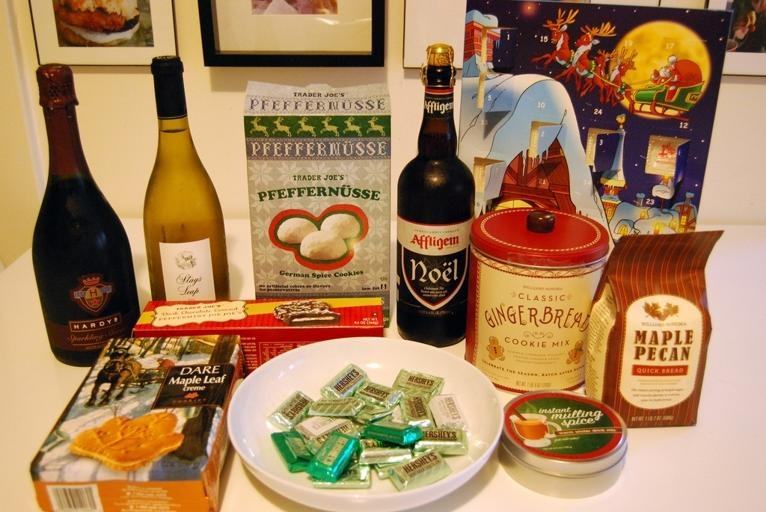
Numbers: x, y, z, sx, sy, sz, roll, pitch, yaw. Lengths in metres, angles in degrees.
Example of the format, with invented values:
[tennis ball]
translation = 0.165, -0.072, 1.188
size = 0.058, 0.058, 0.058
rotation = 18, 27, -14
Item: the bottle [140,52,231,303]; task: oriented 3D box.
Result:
[bottle]
translation = -0.381, -0.115, 1.033
size = 0.141, 0.530, 0.133
rotation = 7, 38, -5
